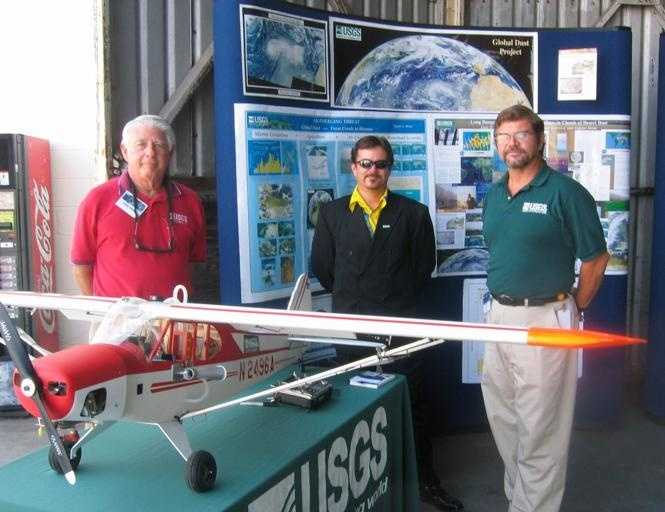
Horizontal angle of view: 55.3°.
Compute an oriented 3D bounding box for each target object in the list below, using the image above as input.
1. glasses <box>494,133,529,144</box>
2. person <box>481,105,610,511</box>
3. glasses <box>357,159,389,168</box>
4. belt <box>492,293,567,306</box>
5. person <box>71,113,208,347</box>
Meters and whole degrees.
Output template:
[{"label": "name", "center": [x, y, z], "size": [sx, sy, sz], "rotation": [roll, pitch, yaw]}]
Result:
[{"label": "glasses", "center": [1.173, -0.763, 4.108], "size": [0.205, 0.076, 0.073], "rotation": [-2, 9, 18]}, {"label": "person", "center": [1.353, 0.437, 4.154], "size": [0.781, 2.816, 0.529], "rotation": [-1, 9, 24]}, {"label": "glasses", "center": [0.297, -0.645, 4.459], "size": [0.232, 0.081, 0.084], "rotation": [-7, 9, -13]}, {"label": "belt", "center": [1.279, 0.283, 4.131], "size": [0.477, 0.071, 0.140], "rotation": [-2, 9, 21]}, {"label": "person", "center": [-1.245, -0.305, 4.032], "size": [0.852, 1.141, 0.421], "rotation": [-9, 9, -24]}]
